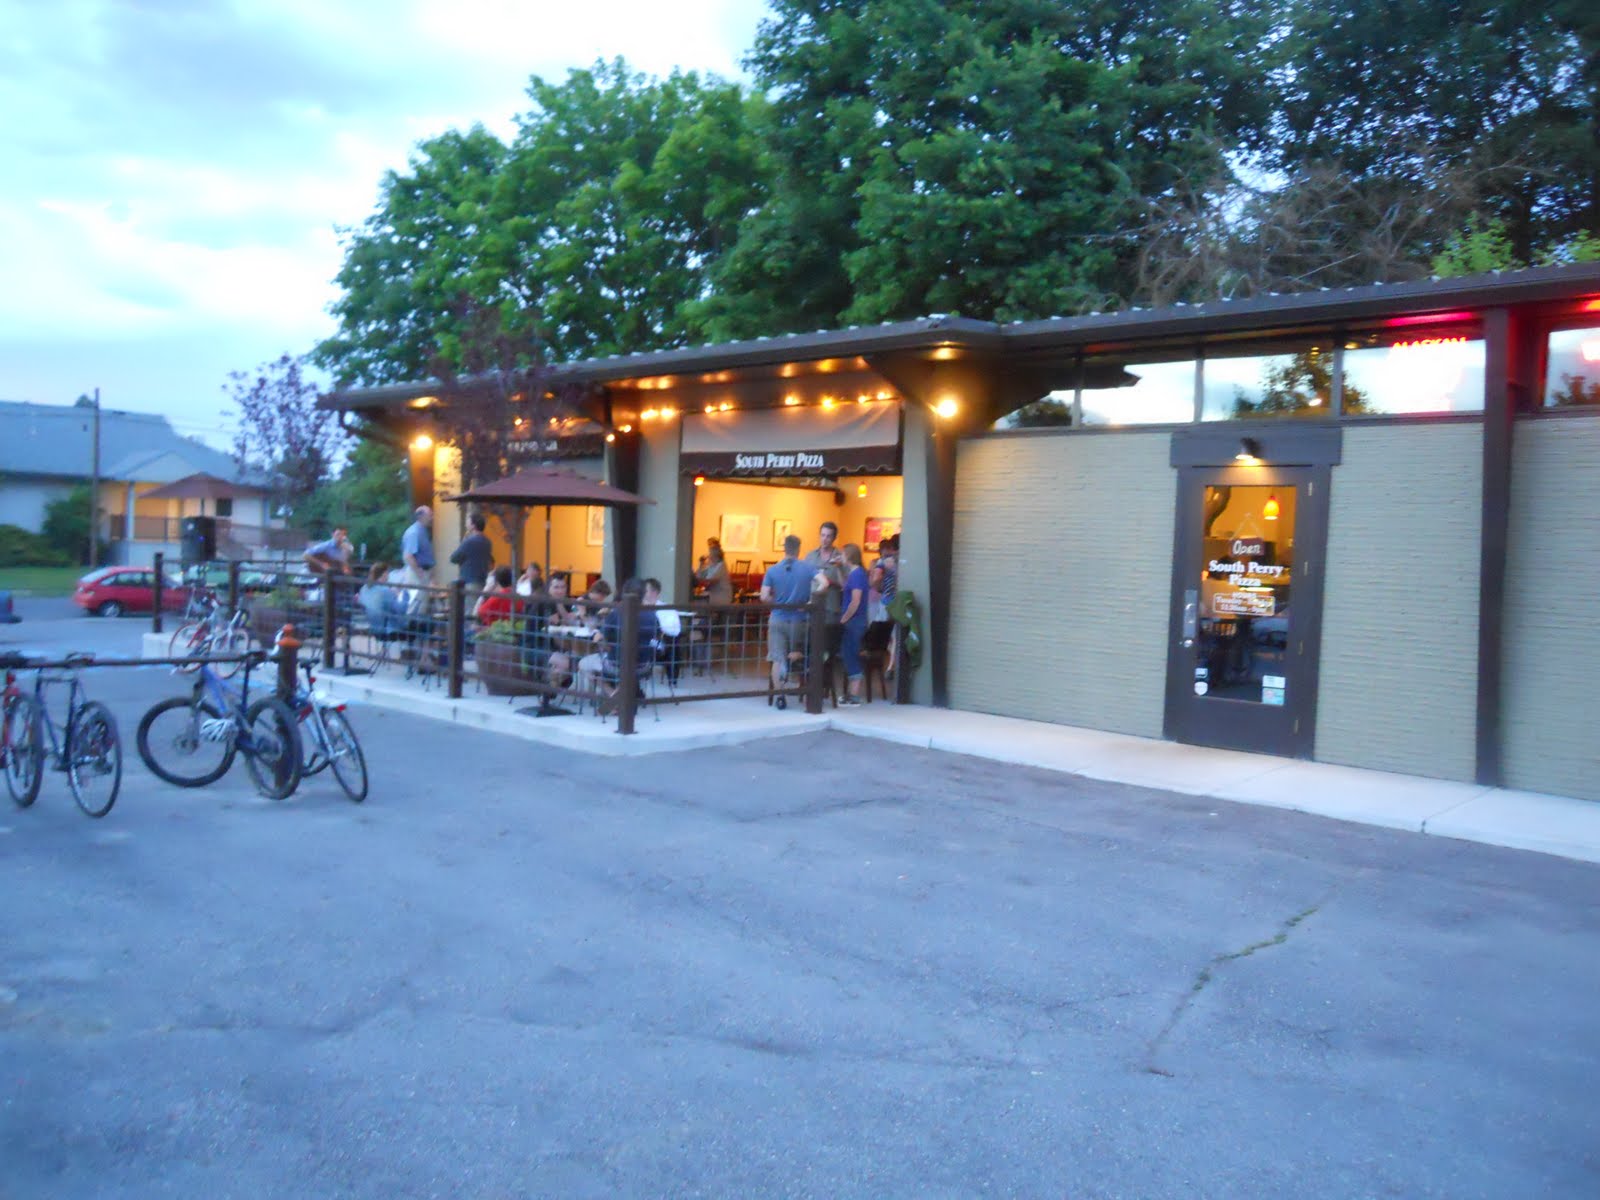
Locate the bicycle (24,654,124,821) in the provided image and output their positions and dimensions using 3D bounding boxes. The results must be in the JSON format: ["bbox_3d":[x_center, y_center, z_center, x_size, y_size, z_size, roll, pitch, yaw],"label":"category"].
[{"bbox_3d":[-5.694,1.045,9.699,0.644,1.136,1.432,-3,8,-33],"label":"bicycle"}]

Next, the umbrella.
[{"bbox_3d":[-3.406,-1.005,16.562,2.209,1.537,2.353,-2,0,29],"label":"umbrella"}]

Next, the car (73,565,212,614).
[{"bbox_3d":[-14.768,-0.177,28.118,2.057,0.953,1.135,-4,5,-35],"label":"car"}]

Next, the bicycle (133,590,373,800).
[{"bbox_3d":[-4.601,0.832,10.781,2.170,1.473,1.373,8,3,31],"label":"bicycle"}]

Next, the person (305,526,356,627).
[{"bbox_3d":[-6.661,-0.439,18.154,0.734,1.332,0.431,-7,24,-31],"label":"person"}]
